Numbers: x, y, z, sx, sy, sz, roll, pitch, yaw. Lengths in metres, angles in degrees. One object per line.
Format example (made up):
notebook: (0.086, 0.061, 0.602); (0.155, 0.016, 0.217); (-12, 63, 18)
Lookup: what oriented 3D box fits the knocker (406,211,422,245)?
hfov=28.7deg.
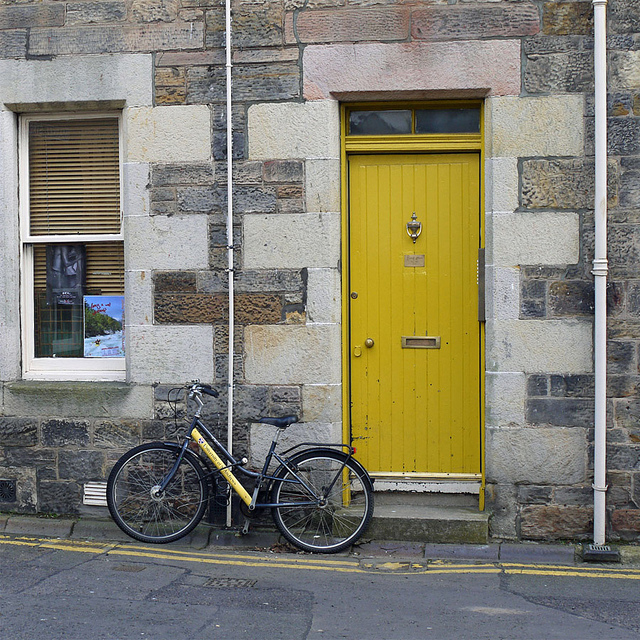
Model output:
knocker: (0.667, -0.667, 8.932); (0.108, 0.227, 0.064); (6, 15, 20)

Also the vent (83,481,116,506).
vent: (-1.616, 1.245, 8.995); (0.272, 0.174, 0.075); (-3, 2, 3)

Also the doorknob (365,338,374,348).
doorknob: (0.355, 0.156, 8.969); (0.056, 0.049, 0.027); (0, -3, 19)

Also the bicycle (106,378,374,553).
bicycle: (-0.543, 1.055, 8.703); (2.030, 1.044, 0.617); (0, -7, 18)
